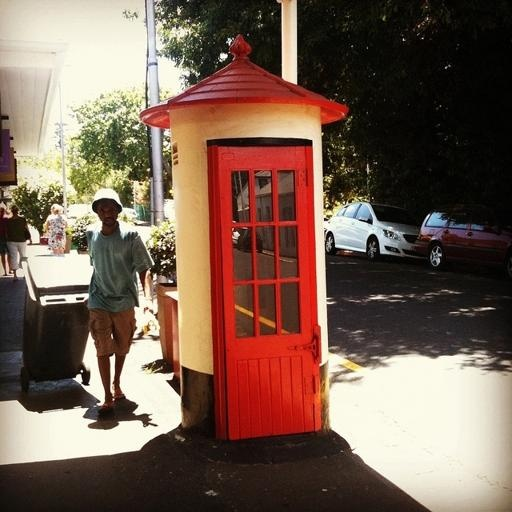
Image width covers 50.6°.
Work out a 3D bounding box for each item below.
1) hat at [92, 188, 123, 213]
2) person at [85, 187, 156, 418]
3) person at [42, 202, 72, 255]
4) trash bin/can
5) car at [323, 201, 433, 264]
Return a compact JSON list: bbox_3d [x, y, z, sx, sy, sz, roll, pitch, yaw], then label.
[{"bbox_3d":[-1.341,-0.533,4.898,0.197,0.167,0.284,1,-7,-9],"label":"hat"},{"bbox_3d":[-1.236,0.408,4.866,0.660,2.022,0.415,2,4,37],"label":"person"},{"bbox_3d":[-5.892,-0.795,16.098,0.495,1.788,0.430,-7,36,-27],"label":"person"},{"bbox_3d":[-2.052,0.738,5.567,0.715,1.317,1.025,-2,4,-26],"label":"trash bin/can"},{"bbox_3d":[4.177,-0.808,18.554,1.826,1.746,3.532,1,0,-27],"label":"car"}]
